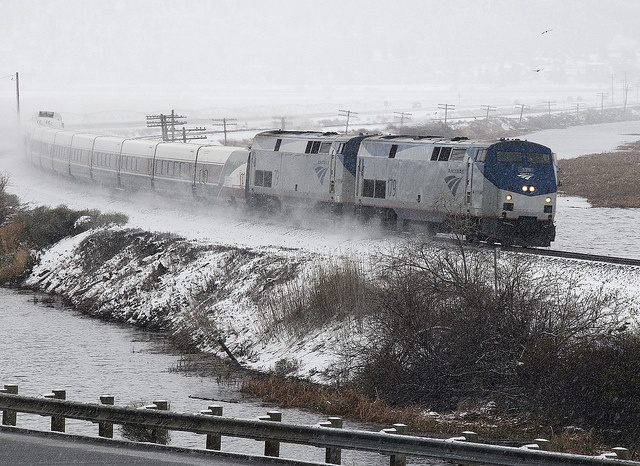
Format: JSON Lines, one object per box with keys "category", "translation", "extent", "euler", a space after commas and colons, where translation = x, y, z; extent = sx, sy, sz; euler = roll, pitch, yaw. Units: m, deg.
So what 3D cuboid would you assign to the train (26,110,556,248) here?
{"category": "train", "translation": [2.516, -3.791, 62.673], "extent": [2.711, 4.077, 33.643], "euler": [-6, 11, -24]}
